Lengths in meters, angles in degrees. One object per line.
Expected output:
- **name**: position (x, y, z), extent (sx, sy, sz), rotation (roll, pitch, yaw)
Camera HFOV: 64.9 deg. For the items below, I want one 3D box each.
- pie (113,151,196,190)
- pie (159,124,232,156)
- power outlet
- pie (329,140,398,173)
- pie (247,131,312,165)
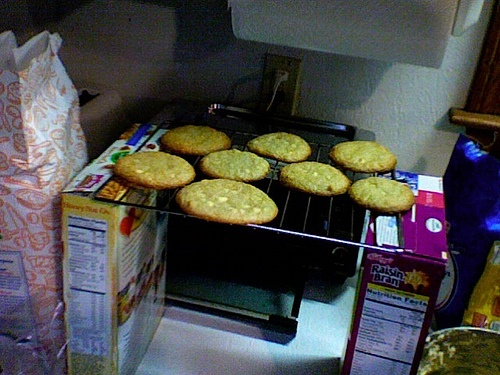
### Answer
- **pie**: position (-0.289, -0.062, 1.178), extent (0.251, 0.049, 0.269), rotation (0, 24, -25)
- **pie**: position (-0.161, -0.156, 1.374), extent (0.268, 0.051, 0.259), rotation (11, -6, 10)
- **power outlet**: position (0.128, -0.392, 1.512), extent (0.133, 0.204, 0.120), rotation (6, 20, 5)
- **pie**: position (0.389, -0.097, 1.290), extent (0.217, 0.049, 0.231), rotation (10, -8, 2)
- **pie**: position (0.089, -0.144, 1.316), extent (0.221, 0.039, 0.155), rotation (7, 39, 9)
